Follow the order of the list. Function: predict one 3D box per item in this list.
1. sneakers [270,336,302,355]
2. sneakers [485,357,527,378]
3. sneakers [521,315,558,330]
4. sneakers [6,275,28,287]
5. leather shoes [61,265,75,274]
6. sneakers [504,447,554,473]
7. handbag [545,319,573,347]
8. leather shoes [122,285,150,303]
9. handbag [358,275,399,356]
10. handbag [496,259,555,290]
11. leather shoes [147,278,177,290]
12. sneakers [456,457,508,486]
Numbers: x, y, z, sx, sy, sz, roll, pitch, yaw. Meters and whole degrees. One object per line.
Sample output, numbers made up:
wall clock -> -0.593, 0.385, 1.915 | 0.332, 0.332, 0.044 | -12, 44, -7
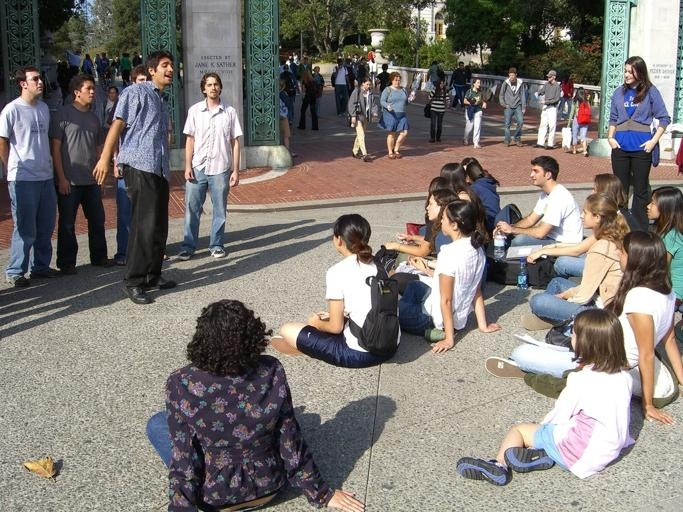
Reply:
sneakers -> -0.519, 0.796, 5.056 | 0.313, 0.130, 0.115 | 10, -2, 27
sneakers -> 1.358, 0.919, 4.719 | 0.322, 0.124, 0.121 | 16, -2, 15
sneakers -> 1.906, 0.643, 5.539 | 0.252, 0.117, 0.127 | -2, 6, 8
sneakers -> -3.671, 0.301, 6.480 | 0.252, 0.125, 0.108 | 11, 10, -27
leather shoes -> -3.302, 0.178, 6.864 | 0.082, 0.062, 0.153 | -6, 20, -28
sneakers -> 1.162, 1.262, 3.531 | 0.300, 0.137, 0.143 | 6, 7, -5
handbag -> 1.913, 0.675, 5.017 | 0.355, 0.206, 0.293 | -1, 0, 2
leather shoes -> -2.184, 0.398, 6.028 | 0.301, 0.135, 0.134 | 25, 28, 33
handbag -> 0.317, 0.491, 4.578 | 0.353, 0.582, 0.314 | -2, 9, -43
handbag -> 2.062, 0.189, 6.515 | 0.468, 0.193, 0.370 | 0, 6, 0
leather shoes -> -2.045, 0.314, 6.442 | 0.290, 0.119, 0.136 | -2, 6, -6
sneakers -> 0.863, 1.308, 3.483 | 0.283, 0.138, 0.131 | 10, 4, 17
